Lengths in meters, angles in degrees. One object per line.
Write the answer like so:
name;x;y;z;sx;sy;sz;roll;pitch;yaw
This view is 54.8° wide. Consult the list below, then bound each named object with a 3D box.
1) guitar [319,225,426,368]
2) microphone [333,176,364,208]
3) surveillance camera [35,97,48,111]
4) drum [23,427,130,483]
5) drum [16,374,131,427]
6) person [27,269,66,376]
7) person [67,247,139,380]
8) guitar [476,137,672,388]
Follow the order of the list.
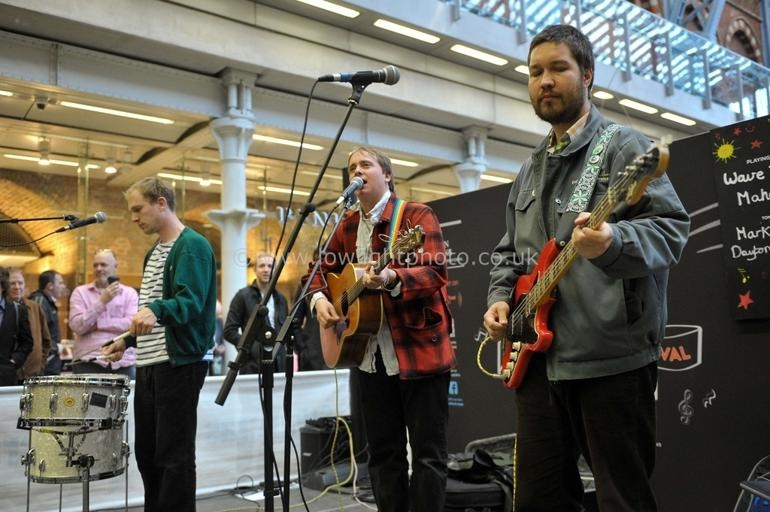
guitar;-0.192;0.400;5.668;0.203;0.632;1.210;2;-35;-27
microphone;-0.283;-0.480;5.769;0.111;0.126;0.390;7;40;34
surveillance camera;-4.890;-2.178;10.560;0.161;0.164;0.162;-1;-12;-23
drum;-2.606;1.646;6.281;0.734;0.558;0.780;-2;-11;0
drum;-2.609;1.287;6.342;0.878;0.401;0.879;2;-13;0
person;-4.394;0.904;9.939;0.452;0.448;1.460;-1;-51;-20
person;-3.232;1.083;8.635;0.715;2.262;0.628;-2;22;-17
guitar;1.299;0.107;4.988;0.354;0.937;2.588;12;-41;-10
